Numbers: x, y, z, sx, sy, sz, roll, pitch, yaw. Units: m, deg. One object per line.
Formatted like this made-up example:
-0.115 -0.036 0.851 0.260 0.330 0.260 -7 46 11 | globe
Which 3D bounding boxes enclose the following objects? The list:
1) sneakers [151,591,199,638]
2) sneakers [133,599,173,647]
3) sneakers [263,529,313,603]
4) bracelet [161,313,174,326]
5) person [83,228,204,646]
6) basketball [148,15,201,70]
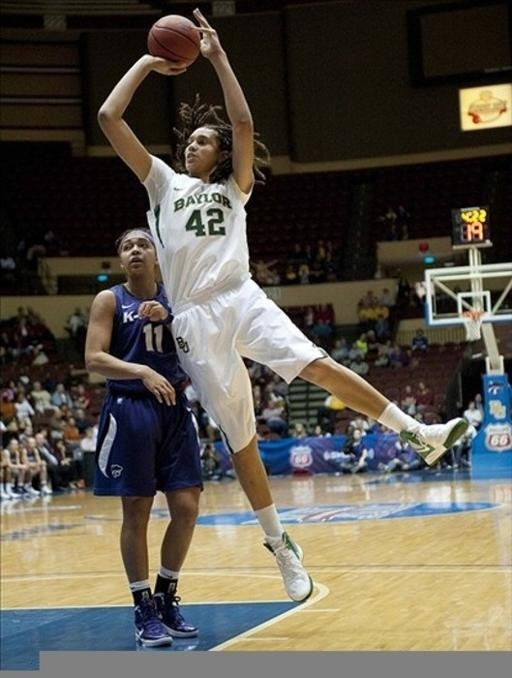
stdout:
-0.233 0.805 1.986 0.193 0.111 0.066 4 -4 43 | sneakers
-0.287 0.775 1.821 0.063 0.100 0.166 0 -12 -25 | sneakers
0.070 0.650 1.969 0.088 0.119 0.279 -39 12 6 | sneakers
-0.271 -0.058 2.074 0.034 0.033 0.030 12 24 20 | bracelet
-0.333 0.269 2.020 0.328 1.267 0.524 -3 2 -14 | person
-0.270 -0.956 2.161 0.143 0.139 0.140 -28 14 10 | basketball
